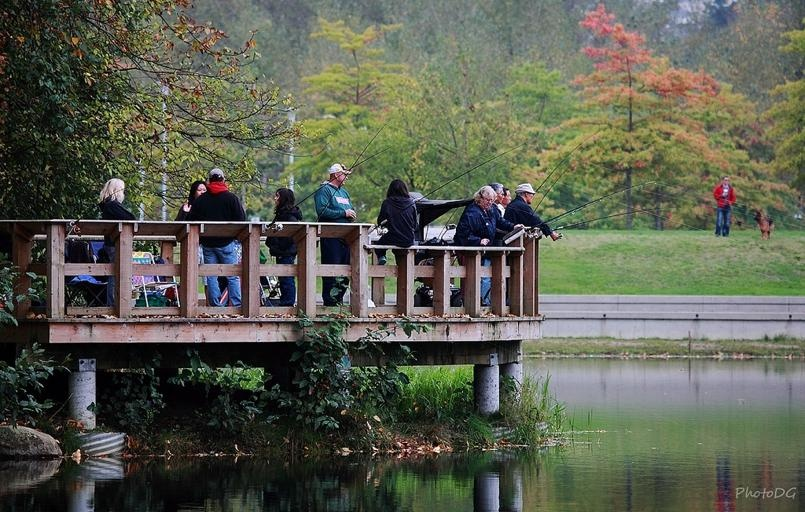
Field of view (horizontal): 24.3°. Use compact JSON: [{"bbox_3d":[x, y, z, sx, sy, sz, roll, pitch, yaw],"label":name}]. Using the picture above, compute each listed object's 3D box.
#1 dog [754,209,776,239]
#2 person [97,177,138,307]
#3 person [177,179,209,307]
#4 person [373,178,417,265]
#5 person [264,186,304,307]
[{"bbox_3d":[13.386,-1.197,69.353,0.608,1.104,2.983,1,-1,11],"label":"dog"},{"bbox_3d":[-6.882,-0.373,45.310,0.942,3.146,1.104,1,0,-11],"label":"person"},{"bbox_3d":[-5.265,-0.483,46.559,0.817,2.951,0.861,0,0,-7],"label":"person"},{"bbox_3d":[-0.230,-0.857,45.781,0.914,2.054,1.175,3,1,-20],"label":"person"},{"bbox_3d":[-3.058,-0.262,45.942,0.878,2.956,1.006,2,0,13],"label":"person"}]
